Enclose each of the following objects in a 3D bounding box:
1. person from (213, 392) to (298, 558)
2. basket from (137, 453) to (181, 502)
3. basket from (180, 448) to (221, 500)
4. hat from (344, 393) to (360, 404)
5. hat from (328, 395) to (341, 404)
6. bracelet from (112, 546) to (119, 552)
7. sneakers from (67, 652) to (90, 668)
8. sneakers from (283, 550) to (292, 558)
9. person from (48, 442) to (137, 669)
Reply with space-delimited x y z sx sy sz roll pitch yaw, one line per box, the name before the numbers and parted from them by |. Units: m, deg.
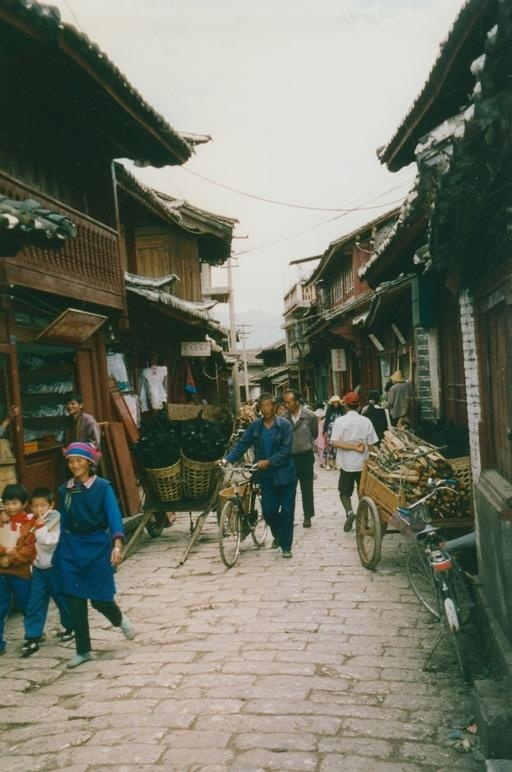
person | 0.047 0.913 7.576 0.769 1.619 0.717 -4 2 -2
basket | -0.993 1.003 8.149 0.435 0.490 0.419 -3 9 11
basket | -0.573 0.948 8.184 0.448 0.521 0.443 2 7 10
hat | 1.068 0.139 8.346 0.117 0.091 0.195 15 7 -3
hat | 1.662 0.276 15.758 0.211 0.108 0.268 -1 -11 4
bracelet | -0.945 1.102 5.052 0.026 0.012 0.038 1 32 2
sneakers | -1.157 1.805 4.893 0.053 0.056 0.140 -12 -13 28
sneakers | 0.308 1.654 7.365 0.098 0.050 0.170 -3 1 0
person | -1.103 1.102 5.064 0.501 1.283 0.380 -4 2 -18
